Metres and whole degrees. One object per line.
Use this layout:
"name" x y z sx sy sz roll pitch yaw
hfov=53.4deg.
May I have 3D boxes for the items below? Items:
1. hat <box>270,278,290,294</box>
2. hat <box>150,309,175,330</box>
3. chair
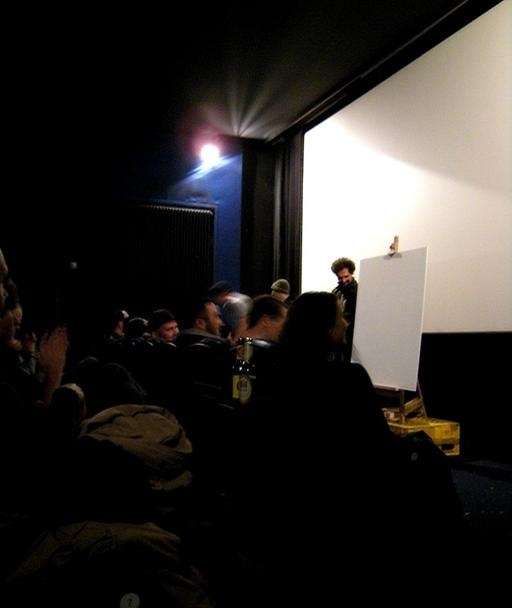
"hat" 0.193 -0.095 3.913 0.106 0.088 0.110 16 -1 4
"hat" -0.526 0.103 2.868 0.106 0.087 0.080 -23 1 13
"chair" -0.526 0.375 3.039 0.517 0.659 0.459 -1 -3 -27
